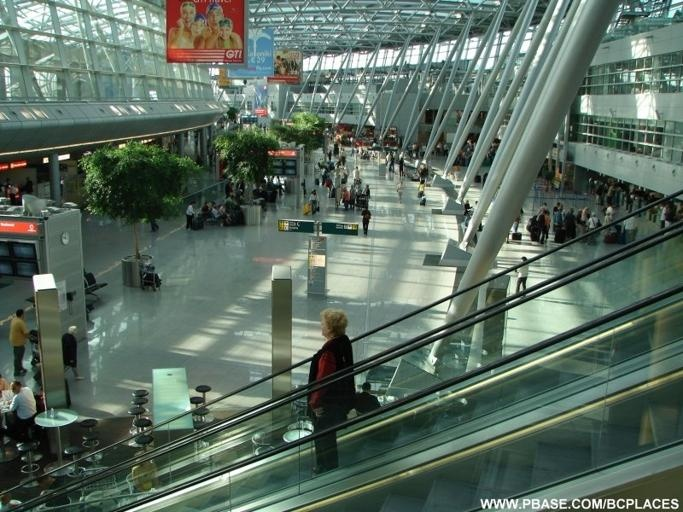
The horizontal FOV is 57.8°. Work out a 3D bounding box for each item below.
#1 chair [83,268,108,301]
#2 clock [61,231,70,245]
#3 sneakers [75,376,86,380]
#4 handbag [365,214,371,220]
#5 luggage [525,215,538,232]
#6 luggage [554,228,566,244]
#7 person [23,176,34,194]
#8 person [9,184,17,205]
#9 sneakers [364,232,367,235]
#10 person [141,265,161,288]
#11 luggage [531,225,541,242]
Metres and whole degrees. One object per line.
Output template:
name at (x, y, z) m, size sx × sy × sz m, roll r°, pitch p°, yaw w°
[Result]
chair at (-7.591, 0.937, 19.104) m, size 0.799 × 0.790 × 0.716 m, roll 14°, pitch 23°, yaw 22°
clock at (-6.490, -0.397, 14.555) m, size 0.051 × 0.217 × 0.222 m, roll 1°, pitch -2°, yaw 29°
sneakers at (-5.739, 2.693, 13.600) m, size 0.196 × 0.112 × 0.065 m, roll -4°, pitch 31°, yaw -10°
handbag at (1.217, -1.800, 28.653) m, size 0.227 × 0.231 × 0.260 m, roll -2°, pitch -10°, yaw -8°
luggage at (8.543, -1.439, 27.497) m, size 0.298 × 0.700 × 0.553 m, roll 21°, pitch 6°, yaw 3°
luggage at (9.754, -0.861, 27.535) m, size 0.395 × 0.645 × 1.021 m, roll 5°, pitch 20°, yaw 13°
person at (-14.967, -3.298, 29.500) m, size 0.442 × 0.760 × 1.590 m, roll -11°, pitch 23°, yaw -28°
person at (-14.741, -2.729, 27.779) m, size 0.298 × 0.741 × 0.843 m, roll -10°, pitch 22°, yaw -27°
sneakers at (1.139, -1.027, 28.784) m, size 0.132 × 0.139 × 0.124 m, roll -2°, pitch 0°, yaw 18°
person at (-6.120, 0.694, 19.796) m, size 0.489 × 0.805 × 0.500 m, roll 7°, pitch 28°, yaw 9°
luggage at (8.631, -0.990, 27.427) m, size 0.492 × 0.753 × 0.478 m, roll 10°, pitch 33°, yaw 30°
